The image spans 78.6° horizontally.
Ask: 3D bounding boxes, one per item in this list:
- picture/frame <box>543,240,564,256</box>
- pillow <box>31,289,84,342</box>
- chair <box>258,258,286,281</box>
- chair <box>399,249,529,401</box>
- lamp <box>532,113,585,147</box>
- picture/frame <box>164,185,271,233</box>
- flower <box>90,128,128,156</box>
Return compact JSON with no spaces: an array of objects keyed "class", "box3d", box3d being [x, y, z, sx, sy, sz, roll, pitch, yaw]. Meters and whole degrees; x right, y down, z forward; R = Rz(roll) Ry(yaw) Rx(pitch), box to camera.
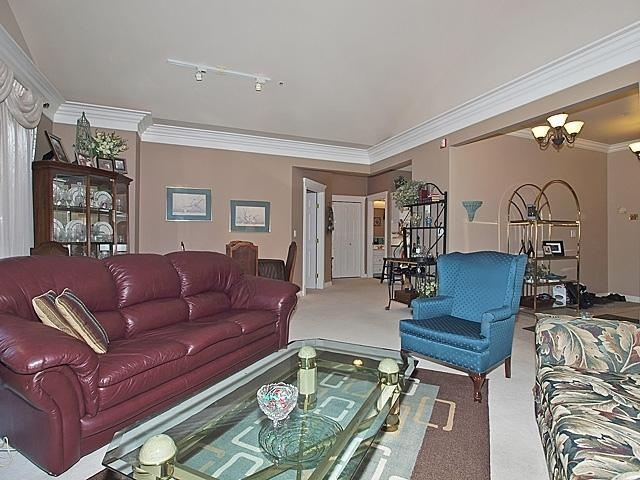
[{"class":"picture/frame","box3d":[3.683,0.133,6.148,0.211,0.193,0.083,1,-7,-10]},{"class":"pillow","box3d":[-1.864,0.541,2.750,0.310,0.327,0.165,1,2,23]},{"class":"chair","box3d":[-0.799,0.479,6.576,0.359,0.328,0.388,2,11,16]},{"class":"chair","box3d":[1.265,0.673,4.175,1.266,1.646,1.238,2,-2,-41]},{"class":"lamp","box3d":[2.914,-1.328,4.791,0.549,0.297,0.595,5,-5,-29]},{"class":"picture/frame","box3d":[-1.839,-0.535,7.144,1.825,0.789,0.093,-1,2,-20]},{"class":"flower","box3d":[-2.805,-1.254,5.160,0.239,0.356,0.426,2,3,42]}]
